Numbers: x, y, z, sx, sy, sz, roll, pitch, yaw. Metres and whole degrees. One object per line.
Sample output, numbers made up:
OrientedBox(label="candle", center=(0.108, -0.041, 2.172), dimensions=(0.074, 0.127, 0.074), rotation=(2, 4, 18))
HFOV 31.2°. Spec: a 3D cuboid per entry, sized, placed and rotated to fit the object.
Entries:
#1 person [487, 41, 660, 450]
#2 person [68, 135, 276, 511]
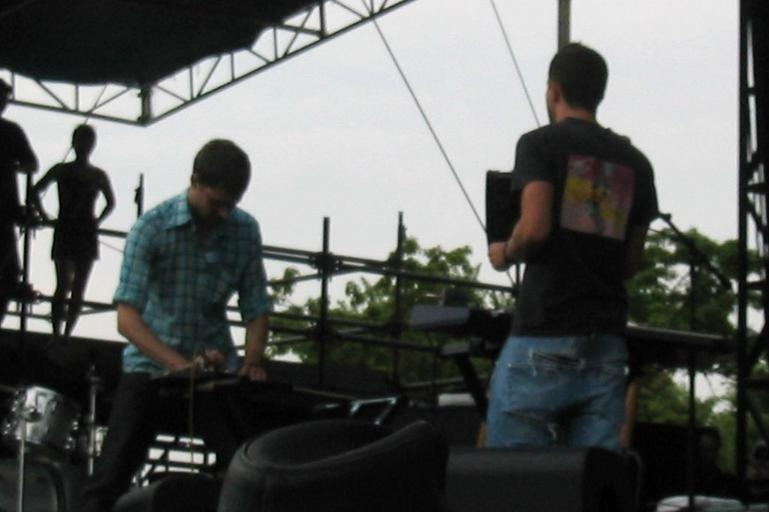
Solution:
OrientedBox(label="person", center=(0.892, -0.063, 6.529), dimensions=(0.798, 1.930, 0.237), rotation=(3, -9, 3))
OrientedBox(label="person", center=(-1.010, 0.338, 6.919), dimensions=(0.847, 1.902, 0.420), rotation=(5, -9, -7))
